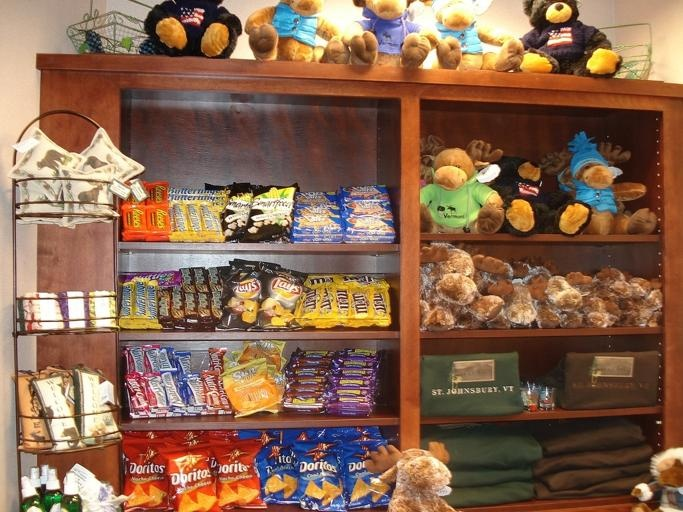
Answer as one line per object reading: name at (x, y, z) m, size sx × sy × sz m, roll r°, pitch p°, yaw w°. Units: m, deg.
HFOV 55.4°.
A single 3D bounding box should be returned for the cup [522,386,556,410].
cup at (0.909, 0.658, 3.027) m, size 0.152 × 0.112 × 0.126 m, roll 0°, pitch 7°, yaw 7°
